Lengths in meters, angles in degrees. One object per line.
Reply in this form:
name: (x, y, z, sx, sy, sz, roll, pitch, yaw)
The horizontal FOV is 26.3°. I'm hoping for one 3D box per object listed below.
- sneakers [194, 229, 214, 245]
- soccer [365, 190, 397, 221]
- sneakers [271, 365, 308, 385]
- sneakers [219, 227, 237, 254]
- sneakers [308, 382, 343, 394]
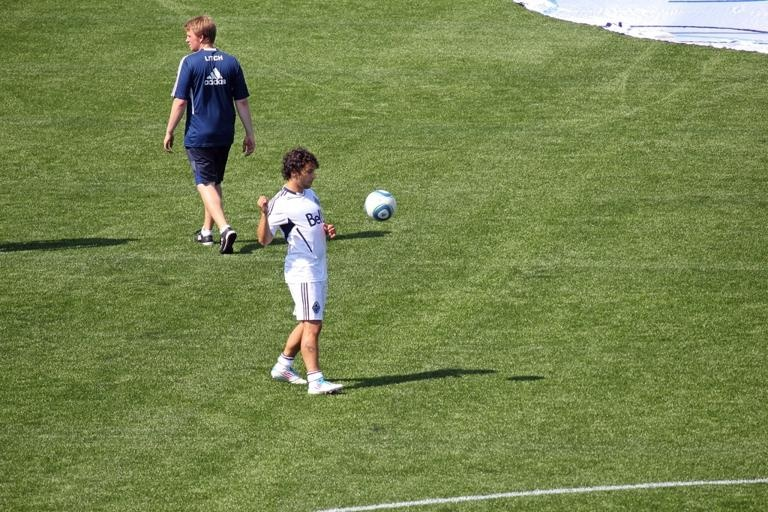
sneakers: (-2.713, -0.235, 24.630, 0.140, 0.138, 0.349, -4, 11, -28)
soccer: (-0.075, -0.701, 23.496, 0.466, 0.414, 0.421, -3, 37, -16)
sneakers: (-1.265, 1.601, 21.844, 0.594, 0.223, 0.186, 9, 12, -4)
sneakers: (-2.284, -0.210, 24.113, 0.182, 0.460, 0.195, -18, 61, -25)
sneakers: (-0.789, 1.735, 21.532, 0.457, 0.193, 0.169, -2, 4, 8)
